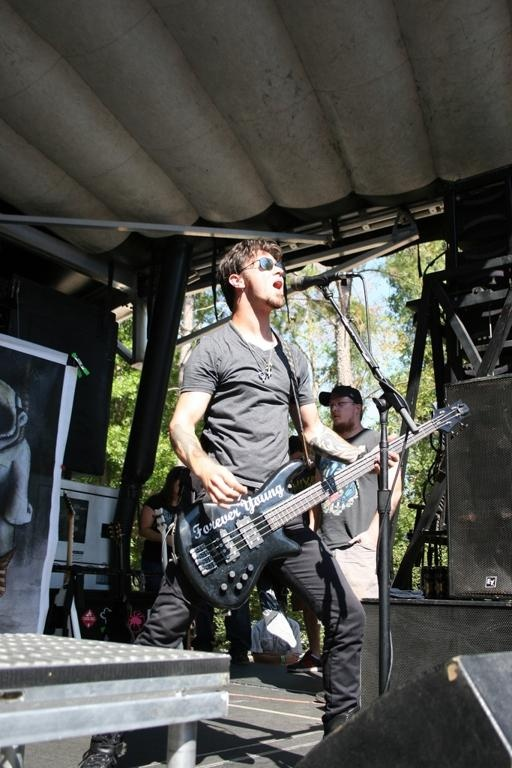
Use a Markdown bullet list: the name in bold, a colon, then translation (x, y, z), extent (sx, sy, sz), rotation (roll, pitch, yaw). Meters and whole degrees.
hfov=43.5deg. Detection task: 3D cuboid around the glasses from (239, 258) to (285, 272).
- **glasses**: translation (0.031, -0.485, 2.641), extent (0.097, 0.031, 0.097), rotation (-21, -13, 20)
